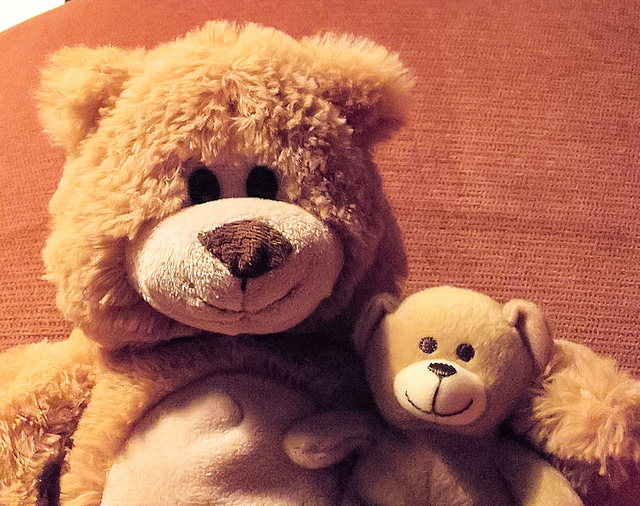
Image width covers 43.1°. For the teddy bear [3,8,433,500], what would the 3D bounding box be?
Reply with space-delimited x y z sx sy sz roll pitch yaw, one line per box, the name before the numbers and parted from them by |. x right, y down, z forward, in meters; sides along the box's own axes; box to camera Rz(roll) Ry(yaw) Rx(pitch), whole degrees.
teddy bear | -0.112 -0.041 1.029 0.573 0.458 0.655 1 79 -4

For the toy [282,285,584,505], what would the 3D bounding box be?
toy | 0.123 0.140 0.934 0.315 0.211 0.334 4 84 10
